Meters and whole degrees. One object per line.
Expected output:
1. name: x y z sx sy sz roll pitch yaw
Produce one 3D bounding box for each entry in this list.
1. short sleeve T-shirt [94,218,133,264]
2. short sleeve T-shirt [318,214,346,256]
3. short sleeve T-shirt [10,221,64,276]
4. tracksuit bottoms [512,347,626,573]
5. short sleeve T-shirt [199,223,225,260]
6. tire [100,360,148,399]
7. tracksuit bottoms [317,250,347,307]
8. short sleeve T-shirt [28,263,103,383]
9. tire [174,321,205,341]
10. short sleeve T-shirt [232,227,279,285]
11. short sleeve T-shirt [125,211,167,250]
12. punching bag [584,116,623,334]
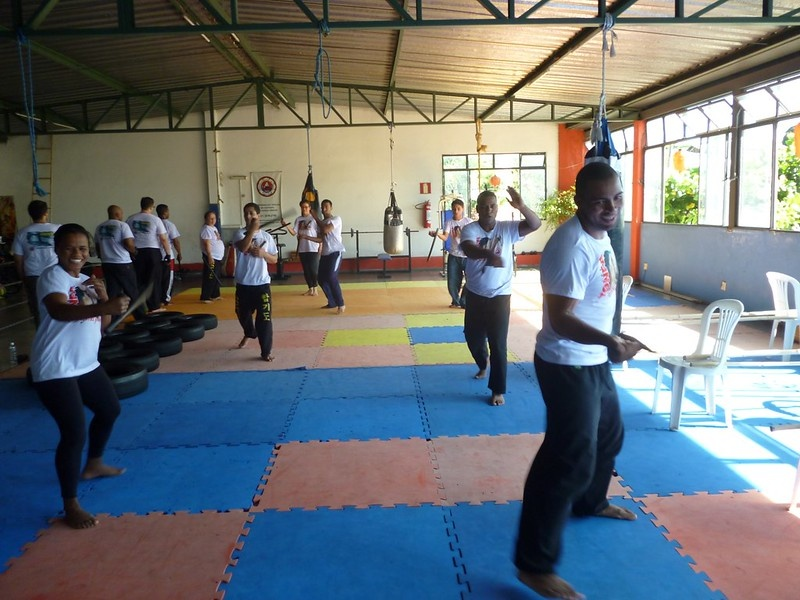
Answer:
1. short sleeve T-shirt: -4.302 -0.900 8.769 0.751 0.640 0.409 -1 3 17
2. short sleeve T-shirt: -1.135 -1.080 9.621 0.349 0.599 0.498 -2 10 -4
3. short sleeve T-shirt: -4.327 -0.621 6.972 0.346 0.582 0.639 6 10 44
4. tracksuit bottoms: 0.993 0.922 3.351 0.429 1.213 0.841 5 12 31
5. short sleeve T-shirt: -3.456 -1.066 10.768 0.215 0.692 0.551 1 10 11
6. tire: -2.764 0.783 5.901 0.443 0.154 0.431 0 4 -1
7. tracksuit bottoms: -1.159 -0.338 9.704 0.375 0.999 0.541 -6 11 -26
8. short sleeve T-shirt: -2.197 0.138 3.789 0.413 0.738 0.302 -7 12 -30
9. tire: -2.925 0.432 8.067 0.365 0.195 0.512 -5 11 -21
10. short sleeve T-shirt: -1.700 -0.510 6.799 0.480 0.642 0.379 -4 11 -16
11. short sleeve T-shirt: -4.230 -1.160 9.618 0.732 0.598 0.366 -2 6 -14
12. punching bag: 2.026 -0.943 5.577 0.281 1.474 0.280 -13 17 -7
